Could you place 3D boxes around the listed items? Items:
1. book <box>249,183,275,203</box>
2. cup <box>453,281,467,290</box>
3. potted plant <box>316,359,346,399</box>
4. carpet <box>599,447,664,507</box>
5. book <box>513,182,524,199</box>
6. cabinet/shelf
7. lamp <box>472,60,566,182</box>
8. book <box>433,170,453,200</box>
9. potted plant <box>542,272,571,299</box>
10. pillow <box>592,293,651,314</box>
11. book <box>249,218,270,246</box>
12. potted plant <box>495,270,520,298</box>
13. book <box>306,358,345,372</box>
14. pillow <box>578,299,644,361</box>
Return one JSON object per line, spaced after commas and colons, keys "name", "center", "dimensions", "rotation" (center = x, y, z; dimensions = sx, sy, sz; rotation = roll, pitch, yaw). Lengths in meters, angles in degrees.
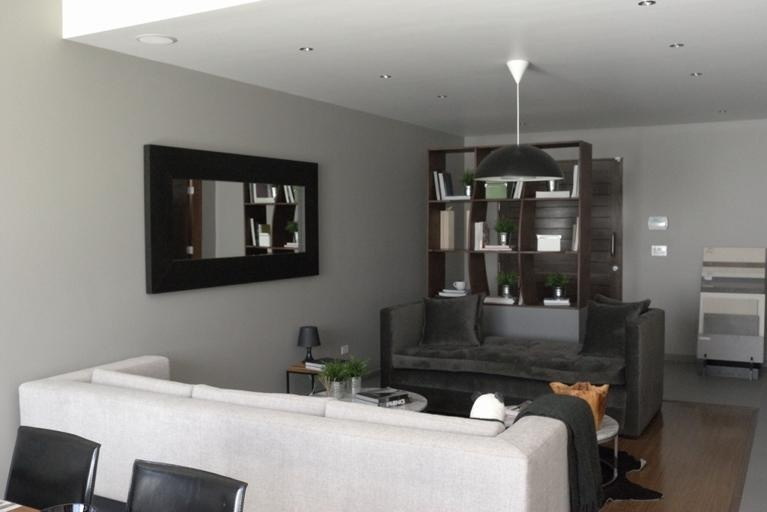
{"name": "book", "center": [-1.206, -0.633, 5.838], "dimensions": [0.032, 0.162, 0.240], "rotation": [0, -1, 36]}
{"name": "cup", "center": [0.931, 0.359, 7.258], "dimensions": [0.123, 0.122, 0.178], "rotation": [2, -3, -43]}
{"name": "potted plant", "center": [-0.469, 1.086, 5.283], "dimensions": [0.342, 0.329, 0.338], "rotation": [0, -2, 15]}
{"name": "carpet", "center": [1.990, 1.823, 4.838], "dimensions": [0.400, 0.013, 0.642], "rotation": [-1, 2, 7]}
{"name": "book", "center": [1.582, -0.771, 6.848], "dimensions": [0.044, 0.165, 0.180], "rotation": [12, -2, 0]}
{"name": "cabinet/shelf", "center": [1.618, -0.399, 7.324], "dimensions": [2.459, 2.169, 0.749], "rotation": [0, 2, 39]}
{"name": "lamp", "center": [1.160, -1.188, 5.459], "dimensions": [1.089, 1.202, 0.998], "rotation": [0, 0, -3]}
{"name": "book", "center": [0.744, -0.902, 7.513], "dimensions": [0.081, 0.333, 0.339], "rotation": [-1, -1, 31]}
{"name": "potted plant", "center": [2.286, 0.363, 7.678], "dimensions": [0.412, 0.395, 0.336], "rotation": [0, -3, 0]}
{"name": "pillow", "center": [2.576, 0.494, 6.404], "dimensions": [0.436, 0.131, 0.447], "rotation": [0, -2, 38]}
{"name": "book", "center": [-1.225, -0.223, 5.853], "dimensions": [0.054, 0.226, 0.235], "rotation": [1, 0, 34]}
{"name": "potted plant", "center": [1.528, 0.355, 7.211], "dimensions": [0.219, 0.308, 0.410], "rotation": [3, 6, 23]}
{"name": "book", "center": [-0.612, 1.079, 5.945], "dimensions": [0.267, 0.053, 0.262], "rotation": [1, 1, 42]}
{"name": "pillow", "center": [2.272, 0.717, 5.931], "dimensions": [0.587, 0.574, 0.239], "rotation": [1, -21, 44]}
